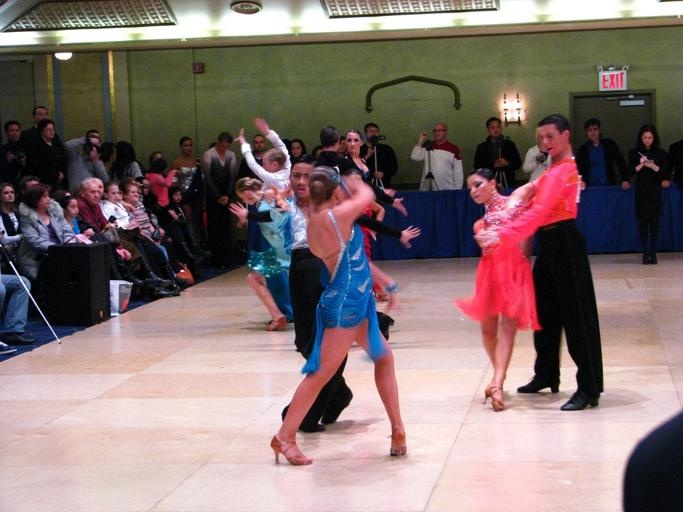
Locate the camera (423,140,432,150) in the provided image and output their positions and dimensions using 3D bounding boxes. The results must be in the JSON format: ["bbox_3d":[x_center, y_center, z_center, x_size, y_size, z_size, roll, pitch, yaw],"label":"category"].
[{"bbox_3d":[1.570,-2.010,11.038,0.138,0.164,0.186,0,-4,-2],"label":"camera"}]

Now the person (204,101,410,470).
[{"bbox_3d":[-0.052,0.279,3.680,0.760,1.685,1.213,-4,11,4],"label":"person"}]

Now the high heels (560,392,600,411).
[{"bbox_3d":[1.558,0.948,4.016,0.294,0.121,0.106,-1,-6,-10],"label":"high heels"}]

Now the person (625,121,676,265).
[{"bbox_3d":[5.034,-1.022,10.046,0.596,2.220,1.251,1,12,28],"label":"person"}]

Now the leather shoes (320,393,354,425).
[{"bbox_3d":[-0.020,0.948,4.034,0.104,0.208,0.313,15,27,19],"label":"leather shoes"}]

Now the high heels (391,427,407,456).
[{"bbox_3d":[0.317,1.042,3.412,0.064,0.180,0.087,1,4,-2],"label":"high heels"}]

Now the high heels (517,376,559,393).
[{"bbox_3d":[1.395,0.933,4.430,0.337,0.144,0.114,3,-1,6],"label":"high heels"}]

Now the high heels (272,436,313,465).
[{"bbox_3d":[-0.218,1.067,3.361,0.296,0.189,0.109,1,-1,-1],"label":"high heels"}]

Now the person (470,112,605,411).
[{"bbox_3d":[1.341,0.069,4.026,0.642,1.946,0.561,-3,11,9],"label":"person"}]

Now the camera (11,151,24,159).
[{"bbox_3d":[-4.686,-1.492,8.957,0.088,0.121,0.041,5,9,-16],"label":"camera"}]

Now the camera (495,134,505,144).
[{"bbox_3d":[2.947,-2.183,11.389,0.100,0.167,0.162,8,-3,11],"label":"camera"}]
